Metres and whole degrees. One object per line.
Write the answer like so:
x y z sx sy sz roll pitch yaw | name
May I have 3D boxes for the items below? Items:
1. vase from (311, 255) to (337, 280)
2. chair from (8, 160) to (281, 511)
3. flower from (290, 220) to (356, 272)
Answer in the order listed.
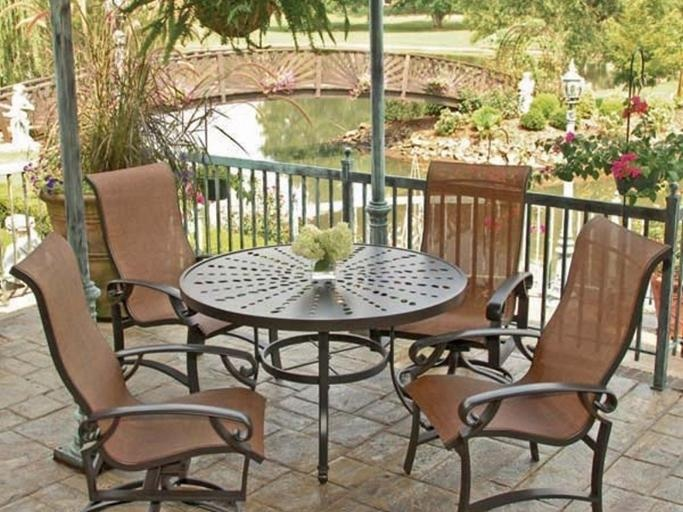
-0.066 0.060 3.661 0.127 0.165 0.124 1 4 6 | vase
-1.072 0.433 3.698 0.828 0.943 1.902 3 12 -6 | chair
-0.095 -0.062 3.602 0.263 0.188 0.274 5 16 34 | flower
